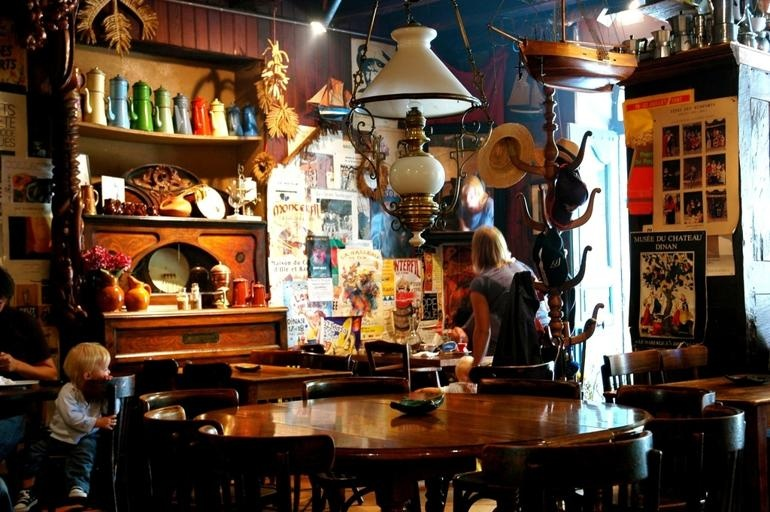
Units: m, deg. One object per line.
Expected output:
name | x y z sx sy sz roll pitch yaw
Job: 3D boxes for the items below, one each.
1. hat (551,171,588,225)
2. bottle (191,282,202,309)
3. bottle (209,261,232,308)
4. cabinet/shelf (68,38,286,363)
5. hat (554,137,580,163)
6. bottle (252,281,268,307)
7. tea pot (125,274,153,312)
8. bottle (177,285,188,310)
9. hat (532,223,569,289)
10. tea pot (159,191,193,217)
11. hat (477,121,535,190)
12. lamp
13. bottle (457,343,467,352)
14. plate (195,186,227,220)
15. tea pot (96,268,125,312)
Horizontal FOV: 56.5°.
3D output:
hat | 1.294 -0.373 5.164 0.286 0.542 0.453 1 0 12
bottle | -1.724 0.365 6.548 0.095 0.247 0.392 0 -4 -13
bottle | -1.527 0.269 6.685 0.186 0.432 0.325 0 -4 -14
cabinet/shelf | -1.954 -0.676 6.932 1.743 1.933 0.678 2 17 -5
hat | 1.320 -0.756 5.185 0.144 0.238 0.399 -2 -4 15
bottle | -1.173 0.366 6.761 0.130 0.222 0.161 -2 -4 4
tea pot | -2.150 0.348 6.226 0.224 0.322 0.251 -4 -8 28
bottle | -1.817 0.388 6.451 0.107 0.200 0.320 0 -4 -15
hat | 1.148 0.014 4.986 0.222 0.416 0.204 -2 -4 13
tea pot | -1.940 -0.465 6.661 0.292 0.245 0.282 -1 -4 0
hat | 0.849 -0.704 5.081 0.461 0.476 0.125 24 22 35
lamp | 0.167 -0.761 4.108 0.737 1.464 0.722 -1 -4 -4
bottle | 0.716 0.856 6.683 0.072 0.059 0.062 -4 -5 13
plate | -1.670 -0.494 6.836 0.072 0.315 0.313 -16 10 37
tea pot | -2.317 0.302 6.034 0.232 0.355 0.228 -3 2 0
